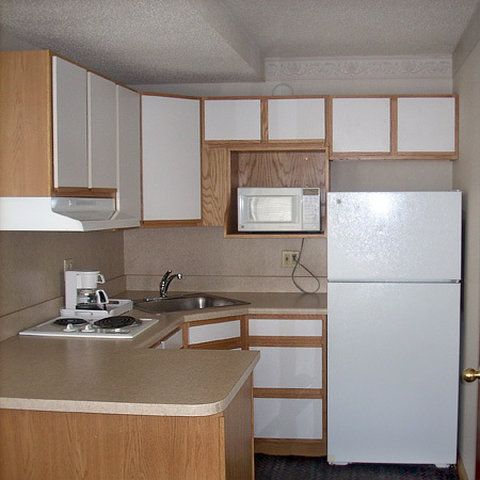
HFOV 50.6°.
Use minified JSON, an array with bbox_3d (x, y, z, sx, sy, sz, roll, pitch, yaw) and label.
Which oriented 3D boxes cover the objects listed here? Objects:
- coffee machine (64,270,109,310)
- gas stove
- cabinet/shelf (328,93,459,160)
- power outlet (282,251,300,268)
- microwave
[{"bbox_3d":[-0.825,0.270,2.711,0.218,0.183,0.141,1,-7,-14],"label":"coffee machine"},{"bbox_3d":[-0.710,0.411,2.438,0.553,0.030,0.365,0,4,9],"label":"gas stove"},{"bbox_3d":[0.908,-0.696,3.213,0.887,0.410,0.251,-3,7,-14],"label":"cabinet/shelf"},{"bbox_3d":[0.350,0.131,3.497,0.130,0.116,0.029,1,-1,7],"label":"power outlet"},{"bbox_3d":[0.233,-0.189,3.254,0.503,0.246,0.289,0,-3,6],"label":"microwave"}]
